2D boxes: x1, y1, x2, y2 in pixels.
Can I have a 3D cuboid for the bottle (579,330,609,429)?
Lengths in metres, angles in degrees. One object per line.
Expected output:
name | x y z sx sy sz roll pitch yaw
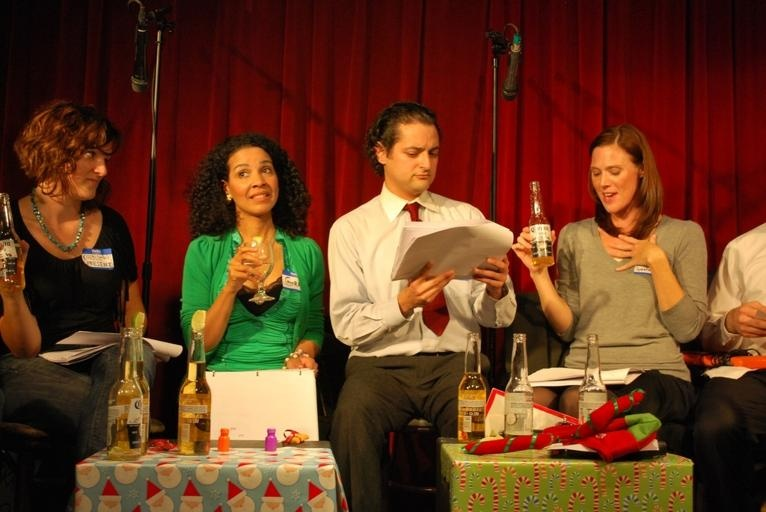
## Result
bottle | 0.813 0.484 2.735 0.103 0.327 0.145 -4 -11 16

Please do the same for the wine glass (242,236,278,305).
wine glass | -0.566 0.085 3.327 0.124 0.275 0.412 1 -11 -10

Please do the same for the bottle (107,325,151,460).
bottle | -0.925 0.505 2.563 0.137 0.467 0.118 3 -11 -19

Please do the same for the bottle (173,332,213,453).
bottle | -0.683 0.507 2.564 0.111 0.442 0.098 2 -11 -17

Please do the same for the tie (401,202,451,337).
tie | 0.229 0.047 3.478 0.208 0.700 0.219 0 -10 -3

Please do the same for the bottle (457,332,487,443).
bottle | 0.370 0.528 2.802 0.155 0.420 0.122 5 -12 -28

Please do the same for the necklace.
necklace | -1.587 -0.160 3.385 0.201 0.312 0.050 -16 -4 -39

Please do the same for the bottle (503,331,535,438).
bottle | 0.526 0.507 2.739 0.108 0.389 0.216 -3 -10 11

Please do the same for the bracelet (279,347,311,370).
bracelet | -0.406 0.492 3.344 0.092 0.056 0.122 0 2 1

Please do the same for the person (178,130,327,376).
person | -0.648 -0.058 3.506 0.714 1.250 0.622 0 -10 -6
